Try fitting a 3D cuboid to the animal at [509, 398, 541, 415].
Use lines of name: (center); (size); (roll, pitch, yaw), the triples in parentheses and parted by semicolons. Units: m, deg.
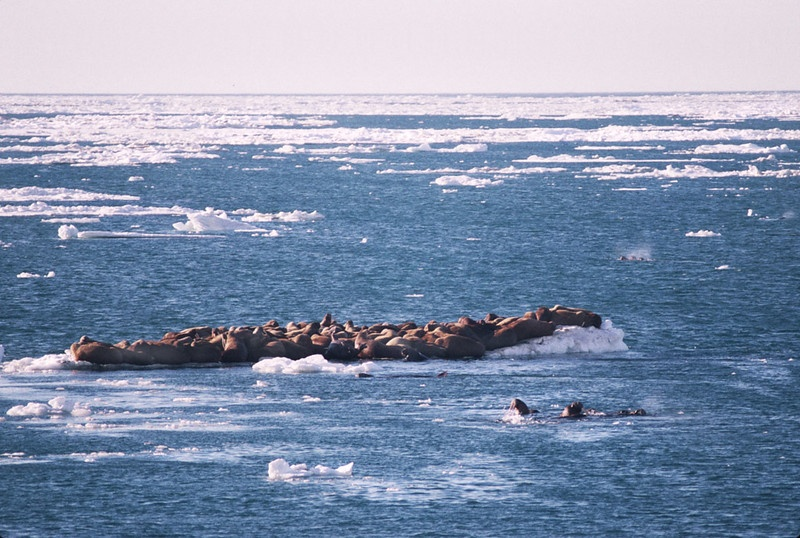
animal: (5.249, 6.396, 104.010); (1.243, 0.357, 0.685); (17, 7, 8)
